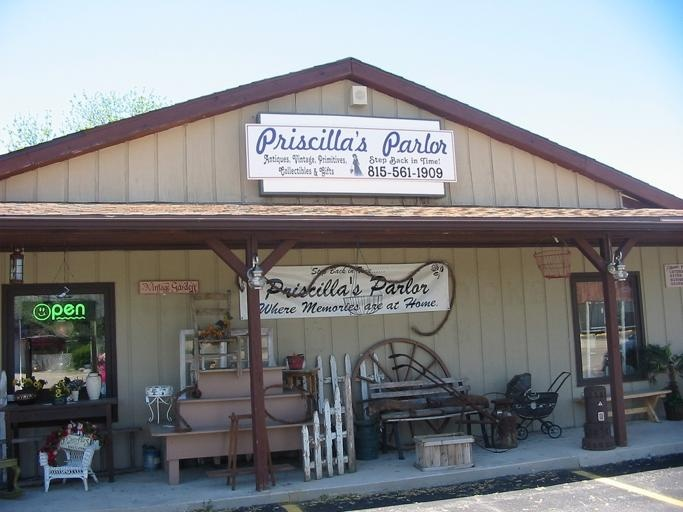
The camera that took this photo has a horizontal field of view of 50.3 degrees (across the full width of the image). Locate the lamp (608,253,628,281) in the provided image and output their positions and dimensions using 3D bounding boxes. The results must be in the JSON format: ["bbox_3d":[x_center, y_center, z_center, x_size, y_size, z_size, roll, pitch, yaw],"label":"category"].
[{"bbox_3d":[4.373,0.144,11.526,0.257,0.430,0.360,-10,-11,33],"label":"lamp"}]

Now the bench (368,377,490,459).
[{"bbox_3d":[1.345,2.604,12.082,1.953,1.273,1.185,-3,-9,-1],"label":"bench"}]

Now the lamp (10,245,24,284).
[{"bbox_3d":[-4.804,0.109,10.706,0.160,0.563,0.575,1,-10,-26],"label":"lamp"}]

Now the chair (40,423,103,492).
[{"bbox_3d":[-3.998,2.926,10.698,0.737,0.940,0.491,-4,-9,0],"label":"chair"}]

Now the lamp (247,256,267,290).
[{"bbox_3d":[-1.207,0.219,10.102,0.229,0.470,0.353,-2,-9,-8],"label":"lamp"}]

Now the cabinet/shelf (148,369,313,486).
[{"bbox_3d":[-1.662,2.495,10.945,2.215,1.599,0.667,-1,-10,-14],"label":"cabinet/shelf"}]

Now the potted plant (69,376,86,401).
[{"bbox_3d":[-4.084,2.041,11.232,0.372,0.372,0.293,0,-2,-10],"label":"potted plant"}]

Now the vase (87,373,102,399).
[{"bbox_3d":[-3.828,1.995,11.188,0.216,0.411,0.354,0,-9,-19],"label":"vase"}]

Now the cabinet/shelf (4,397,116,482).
[{"bbox_3d":[-4.298,2.500,11.268,1.559,1.627,0.955,1,-10,-18],"label":"cabinet/shelf"}]

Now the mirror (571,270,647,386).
[{"bbox_3d":[5.051,1.347,13.766,1.562,2.100,0.370,0,-10,-23],"label":"mirror"}]

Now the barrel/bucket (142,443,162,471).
[{"bbox_3d":[-2.965,3.137,11.442,0.371,0.348,0.339,0,4,0],"label":"barrel/bucket"}]

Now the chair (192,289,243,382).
[{"bbox_3d":[-2.023,1.222,11.607,0.725,1.370,0.569,6,-5,-25],"label":"chair"}]

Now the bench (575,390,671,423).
[{"bbox_3d":[5.653,2.786,13.525,1.107,0.538,0.478,1,-10,-27],"label":"bench"}]

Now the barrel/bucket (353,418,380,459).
[{"bbox_3d":[0.391,2.907,11.688,0.577,0.619,0.550,0,-5,0],"label":"barrel/bucket"}]
